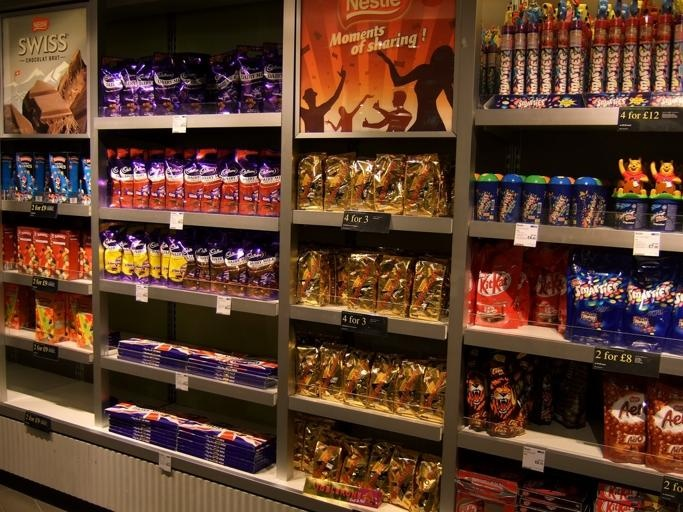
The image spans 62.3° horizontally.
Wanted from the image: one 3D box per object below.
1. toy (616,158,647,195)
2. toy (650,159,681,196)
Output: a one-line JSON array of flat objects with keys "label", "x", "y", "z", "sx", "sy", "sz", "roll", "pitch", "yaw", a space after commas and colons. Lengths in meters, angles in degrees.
[{"label": "toy", "x": 1.271, "y": -0.341, "z": 2.463, "sx": 0.124, "sy": 0.154, "sz": 0.193, "roll": 4, "pitch": 12, "yaw": 28}, {"label": "toy", "x": 1.386, "y": -0.323, "z": 2.407, "sx": 0.116, "sy": 0.146, "sz": 0.178, "roll": 6, "pitch": 13, "yaw": 33}]
